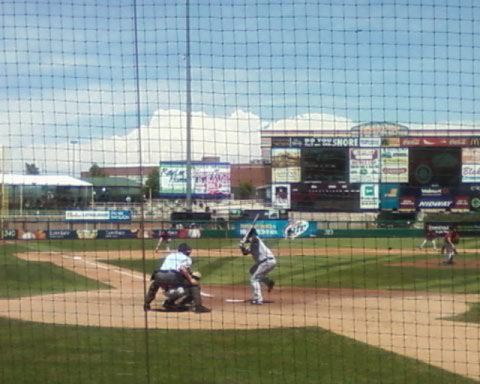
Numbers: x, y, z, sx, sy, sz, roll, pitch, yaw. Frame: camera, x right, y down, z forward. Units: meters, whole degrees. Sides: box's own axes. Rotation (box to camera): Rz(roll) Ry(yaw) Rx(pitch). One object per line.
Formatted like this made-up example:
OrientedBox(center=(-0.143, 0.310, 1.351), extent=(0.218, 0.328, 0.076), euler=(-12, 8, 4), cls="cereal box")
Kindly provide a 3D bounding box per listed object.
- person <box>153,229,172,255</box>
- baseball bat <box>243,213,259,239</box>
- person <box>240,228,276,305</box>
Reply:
OrientedBox(center=(-3.167, 1.978, 42.658), extent=(0.550, 0.328, 1.044), euler=(2, 13, 4), cls="person")
OrientedBox(center=(0.308, 1.066, 32.572), extent=(0.133, 0.977, 0.125), euler=(43, -21, -17), cls="baseball bat")
OrientedBox(center=(0.475, 2.146, 30.391), extent=(1.028, 2.178, 0.591), euler=(-1, 0, -12), cls="person")
